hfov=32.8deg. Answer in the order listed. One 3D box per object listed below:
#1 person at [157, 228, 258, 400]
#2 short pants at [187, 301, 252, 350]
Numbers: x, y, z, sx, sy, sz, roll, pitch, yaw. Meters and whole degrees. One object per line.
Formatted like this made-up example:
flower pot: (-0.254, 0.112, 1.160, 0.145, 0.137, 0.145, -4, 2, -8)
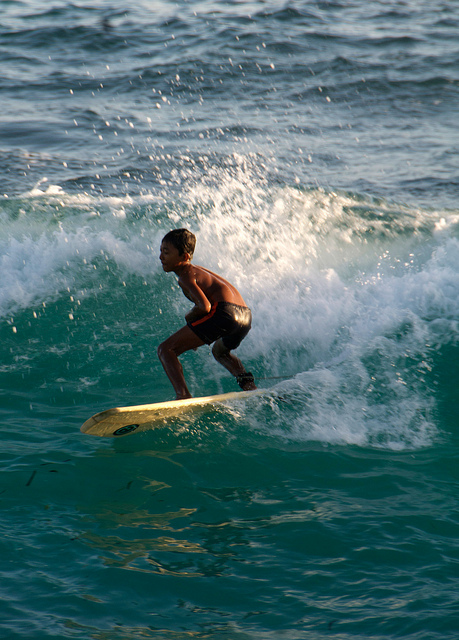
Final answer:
person: (-0.293, -0.077, 6.043, 0.591, 1.193, 0.801, 17, 29, 29)
short pants: (-0.086, 0.033, 6.097, 0.334, 0.388, 0.298, -31, 57, -28)
